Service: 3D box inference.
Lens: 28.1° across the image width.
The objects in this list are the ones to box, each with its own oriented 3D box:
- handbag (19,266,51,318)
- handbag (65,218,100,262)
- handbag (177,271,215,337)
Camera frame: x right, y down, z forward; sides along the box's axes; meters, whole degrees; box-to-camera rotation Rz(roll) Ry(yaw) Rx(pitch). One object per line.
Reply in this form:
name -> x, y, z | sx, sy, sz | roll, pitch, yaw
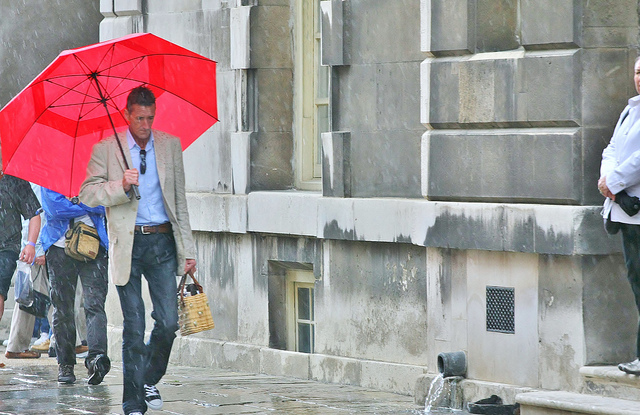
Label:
handbag -> -3.503, 1.175, 15.813 | 0.368, 0.319, 0.287 | 4, -9, -19
handbag -> -2.605, 0.295, 13.967 | 0.283, 0.513, 0.350 | -6, -19, 41
handbag -> -1.223, 0.936, 12.551 | 0.348, 0.614, 0.368 | 2, -8, -5
